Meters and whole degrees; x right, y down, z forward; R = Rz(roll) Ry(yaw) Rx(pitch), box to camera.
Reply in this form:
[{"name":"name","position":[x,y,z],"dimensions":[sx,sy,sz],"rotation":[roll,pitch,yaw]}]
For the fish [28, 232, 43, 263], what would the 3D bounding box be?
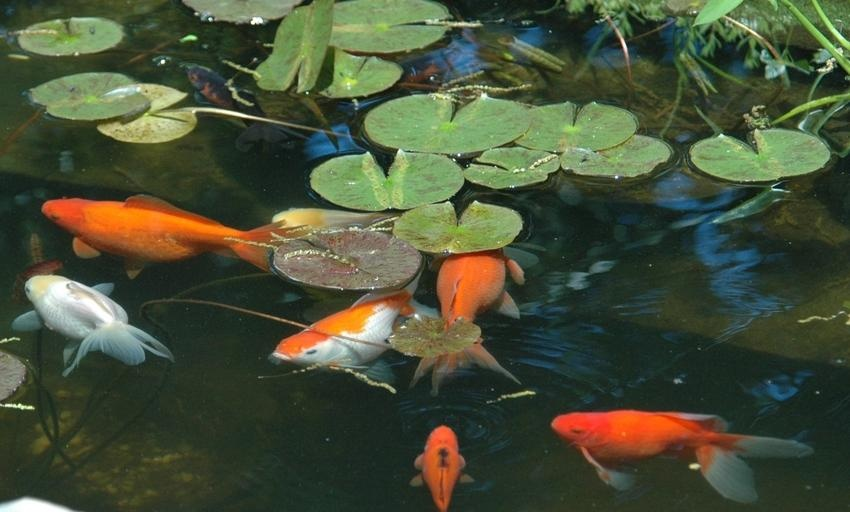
[{"name":"fish","position":[-2.862,-0.065,7.412],"dimensions":[0.101,0.038,0.240],"rotation":[-4,59,-11]}]
